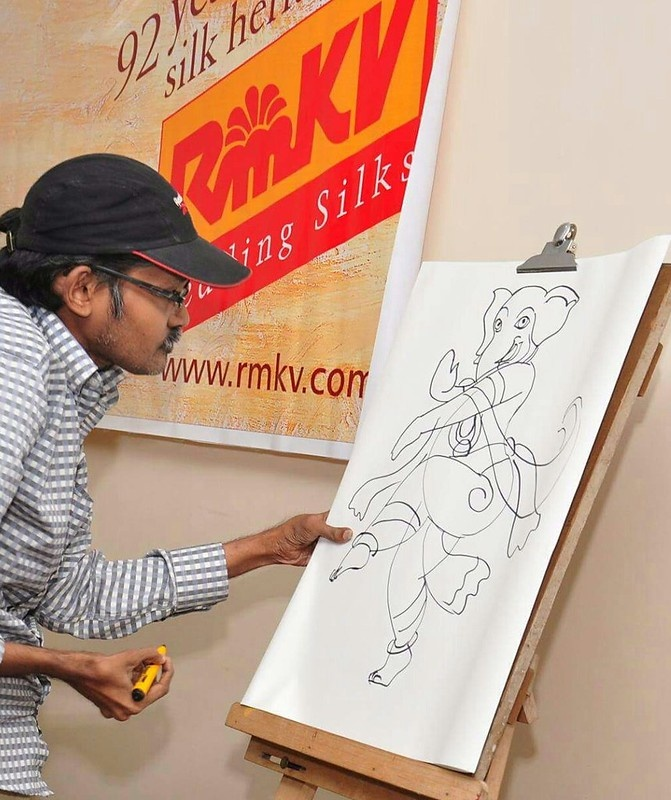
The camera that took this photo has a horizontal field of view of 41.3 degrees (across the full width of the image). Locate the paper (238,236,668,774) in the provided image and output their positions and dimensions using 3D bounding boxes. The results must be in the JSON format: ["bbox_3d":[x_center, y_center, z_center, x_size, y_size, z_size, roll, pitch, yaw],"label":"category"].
[{"bbox_3d":[0.147,0.090,1.078,0.350,0.636,0.351,15,14,33],"label":"paper"}]

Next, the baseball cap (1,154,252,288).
[{"bbox_3d":[-0.287,-0.204,1.180,0.256,0.138,0.173,5,9,-10],"label":"baseball cap"}]

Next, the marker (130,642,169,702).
[{"bbox_3d":[-0.239,0.357,1.190,0.020,0.021,0.117,28,31,-2],"label":"marker"}]
